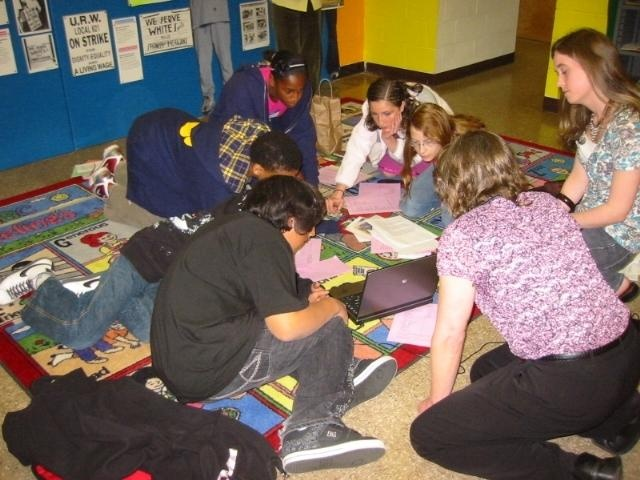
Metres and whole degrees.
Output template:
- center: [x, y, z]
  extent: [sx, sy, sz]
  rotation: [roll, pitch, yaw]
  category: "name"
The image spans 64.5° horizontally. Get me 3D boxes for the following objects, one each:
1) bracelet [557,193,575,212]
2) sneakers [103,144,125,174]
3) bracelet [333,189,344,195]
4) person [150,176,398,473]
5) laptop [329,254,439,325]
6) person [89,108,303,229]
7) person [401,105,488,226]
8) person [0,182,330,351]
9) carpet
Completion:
- center: [1.424, -0.226, 2.941]
  extent: [0.038, 0.097, 0.099]
  rotation: [-45, 21, 5]
  category: "bracelet"
- center: [-1.816, -0.723, 4.426]
  extent: [0.183, 0.128, 0.302]
  rotation: [2, 51, -6]
  category: "sneakers"
- center: [0.141, -0.371, 3.869]
  extent: [0.060, 0.039, 0.107]
  rotation: [-4, 3, 15]
  category: "bracelet"
- center: [-0.251, 0.452, 2.086]
  extent: [0.860, 1.109, 0.506]
  rotation: [-10, 23, -15]
  category: "person"
- center: [0.375, 0.202, 2.850]
  extent: [0.469, 0.328, 0.466]
  rotation: [-16, 29, -14]
  category: "laptop"
- center: [-0.958, -0.491, 3.546]
  extent: [1.169, 0.426, 0.807]
  rotation: [15, -22, -6]
  category: "person"
- center: [0.928, -0.588, 3.675]
  extent: [0.536, 0.851, 0.784]
  rotation: [17, 34, 39]
  category: "person"
- center: [-0.829, 0.179, 2.835]
  extent: [1.766, 0.595, 0.957]
  rotation: [-14, 11, 2]
  category: "person"
- center: [-0.193, 0.188, 2.581]
  extent: [1.832, 0.518, 1.567]
  rotation: [-19, 68, -16]
  category: "carpet"
